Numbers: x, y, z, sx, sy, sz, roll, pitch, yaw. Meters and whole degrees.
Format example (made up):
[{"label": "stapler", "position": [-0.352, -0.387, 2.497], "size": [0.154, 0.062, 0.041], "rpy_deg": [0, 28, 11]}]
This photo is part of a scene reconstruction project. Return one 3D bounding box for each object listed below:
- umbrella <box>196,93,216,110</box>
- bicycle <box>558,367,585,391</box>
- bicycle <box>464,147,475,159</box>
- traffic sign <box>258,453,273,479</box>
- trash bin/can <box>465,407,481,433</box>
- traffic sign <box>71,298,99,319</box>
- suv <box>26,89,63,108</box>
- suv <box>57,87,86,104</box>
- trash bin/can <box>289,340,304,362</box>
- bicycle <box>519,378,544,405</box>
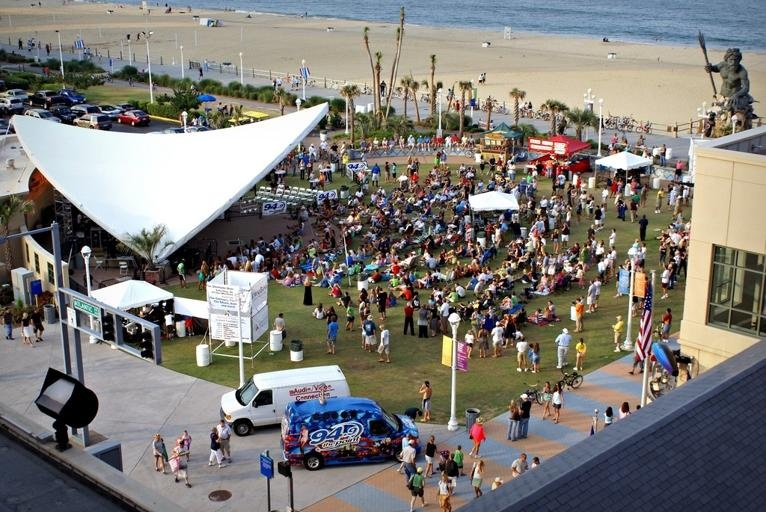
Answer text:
[{"label": "umbrella", "position": [-16.727, -14.416, 139.011], "size": [1.597, 1.179, 1.637], "rpy_deg": [11, 24, 11]}, {"label": "bicycle", "position": [11.485, 7.367, 89.412], "size": [1.317, 0.810, 1.825], "rpy_deg": [5, 15, 17]}, {"label": "bicycle", "position": [7.135, -8.496, 120.905], "size": [0.982, 1.012, 0.540], "rpy_deg": [11, 12, 21]}, {"label": "traffic sign", "position": [-6.610, 11.604, 82.445], "size": [0.234, 1.365, 1.335], "rpy_deg": [-13, 23, -40]}, {"label": "trash bin/can", "position": [5.198, 9.414, 86.175], "size": [1.063, 1.233, 1.124], "rpy_deg": [0, 8, -1]}, {"label": "traffic sign", "position": [-16.783, 2.780, 82.468], "size": [1.614, 0.448, 0.075], "rpy_deg": [19, 39, 36]}, {"label": "suv", "position": [-31.363, -14.635, 136.742], "size": [2.975, 1.132, 1.604], "rpy_deg": [12, 33, 24]}, {"label": "suv", "position": [-29.219, -14.499, 137.375], "size": [2.888, 1.042, 1.259], "rpy_deg": [24, 40, 33]}, {"label": "trash bin/can", "position": [-5.365, 5.658, 90.976], "size": [1.041, 1.184, 1.082], "rpy_deg": [1, 16, 3]}, {"label": "bicycle", "position": [9.111, 8.000, 88.652], "size": [1.502, 1.043, 0.899], "rpy_deg": [-15, 24, -41]}]
